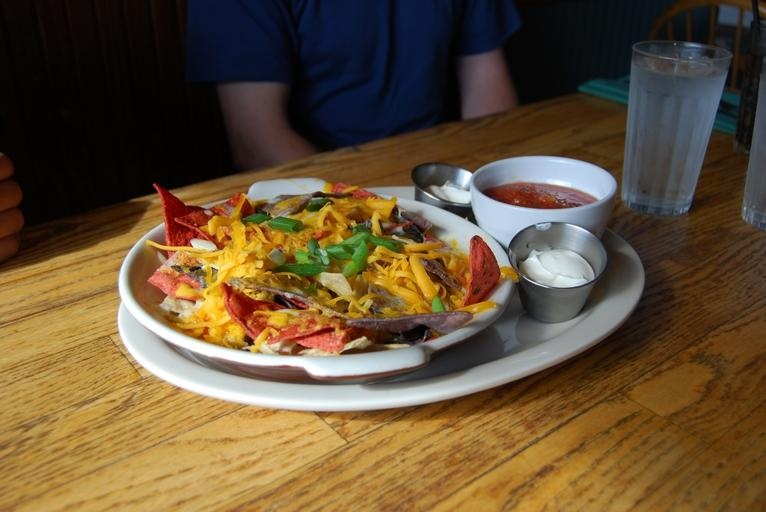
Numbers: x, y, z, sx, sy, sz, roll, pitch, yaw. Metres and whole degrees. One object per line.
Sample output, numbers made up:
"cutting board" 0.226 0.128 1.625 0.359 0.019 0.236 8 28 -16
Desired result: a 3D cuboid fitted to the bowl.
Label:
"bowl" 0.299 -0.124 1.150 0.262 0.133 0.257 -3 26 2
